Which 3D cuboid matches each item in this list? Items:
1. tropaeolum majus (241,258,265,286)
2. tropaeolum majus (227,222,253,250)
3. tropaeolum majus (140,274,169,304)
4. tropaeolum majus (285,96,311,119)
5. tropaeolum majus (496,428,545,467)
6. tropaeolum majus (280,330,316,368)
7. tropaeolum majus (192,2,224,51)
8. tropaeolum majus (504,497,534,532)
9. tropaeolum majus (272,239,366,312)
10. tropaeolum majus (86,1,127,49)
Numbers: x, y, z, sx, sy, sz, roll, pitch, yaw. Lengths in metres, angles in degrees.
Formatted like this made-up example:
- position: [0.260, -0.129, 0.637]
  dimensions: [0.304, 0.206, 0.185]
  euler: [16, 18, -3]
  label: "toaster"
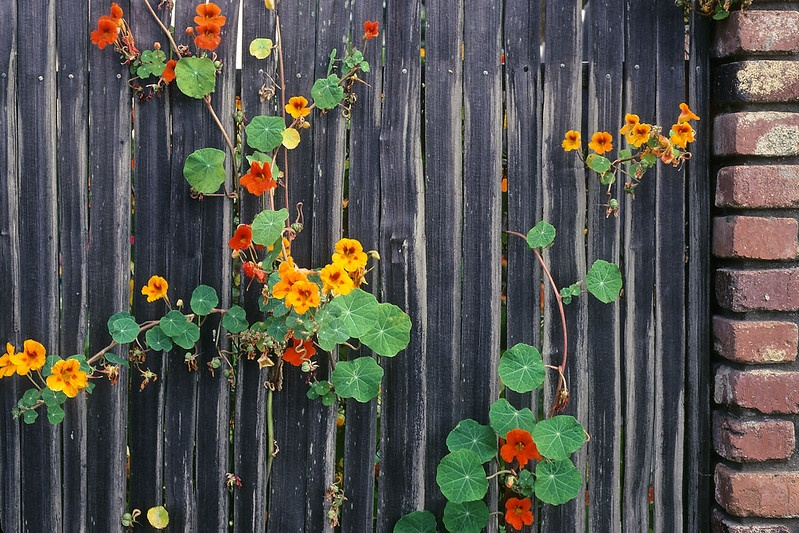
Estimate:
- position: [-0.622, 0.030, 5.979]
  dimensions: [0.098, 0.124, 0.182]
  euler: [-3, 15, -7]
  label: "tropaeolum majus"
- position: [-0.679, -0.117, 5.966]
  dimensions: [0.097, 0.129, 0.122]
  euler: [-3, 15, -8]
  label: "tropaeolum majus"
- position: [-1.050, 0.102, 6.019]
  dimensions: [0.119, 0.130, 0.120]
  euler: [-4, 15, -11]
  label: "tropaeolum majus"
- position: [-0.437, -0.679, 5.971]
  dimensions: [0.095, 0.094, 0.049]
  euler: [-22, 7, 2]
  label: "tropaeolum majus"
- position: [0.512, 0.770, 5.996]
  dimensions: [0.158, 0.159, 0.074]
  euler: [43, 17, 3]
  label: "tropaeolum majus"
- position: [-0.430, 0.364, 6.005]
  dimensions: [0.129, 0.126, 0.042]
  euler: [-18, 15, 16]
  label: "tropaeolum majus"
- position: [-0.821, -1.015, 5.980]
  dimensions: [0.159, 0.181, 0.073]
  euler: [2, -1, -5]
  label: "tropaeolum majus"
- position: [0.519, 1.074, 6.054]
  dimensions: [0.126, 0.167, 0.118]
  euler: [0, 15, 4]
  label: "tropaeolum majus"
- position: [-0.334, 0.052, 5.878]
  dimensions: [0.402, 0.289, 0.231]
  euler: [-1, 15, -2]
  label: "tropaeolum majus"
- position: [-1.260, -1.028, 6.029]
  dimensions: [0.139, 0.185, 0.111]
  euler: [-4, 15, -12]
  label: "tropaeolum majus"
